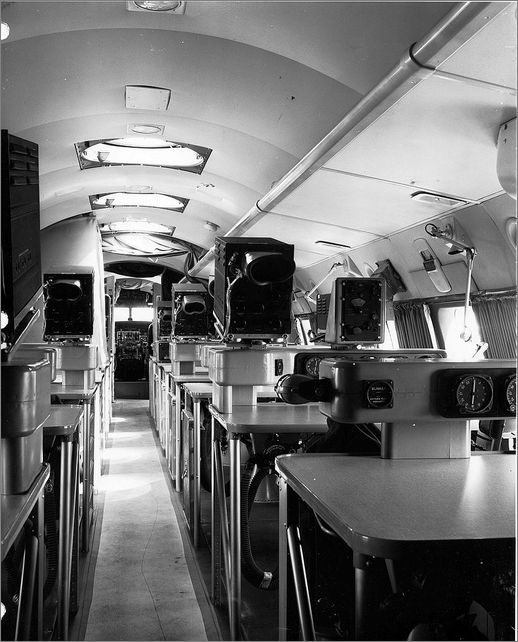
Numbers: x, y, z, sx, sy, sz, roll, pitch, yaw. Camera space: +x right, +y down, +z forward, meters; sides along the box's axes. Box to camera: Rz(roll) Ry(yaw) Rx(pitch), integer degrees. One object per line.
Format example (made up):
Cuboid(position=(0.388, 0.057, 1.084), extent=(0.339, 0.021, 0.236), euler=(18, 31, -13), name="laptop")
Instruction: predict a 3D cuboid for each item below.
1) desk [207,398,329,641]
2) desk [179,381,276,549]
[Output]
Cuboid(position=(-0.086, 1.027, 3.040), extent=(0.774, 1.358, 1.083), euler=(0, -4, -12), name="desk")
Cuboid(position=(-0.407, 1.472, 4.692), extent=(0.640, 0.961, 0.915), euler=(-4, -7, 6), name="desk")
